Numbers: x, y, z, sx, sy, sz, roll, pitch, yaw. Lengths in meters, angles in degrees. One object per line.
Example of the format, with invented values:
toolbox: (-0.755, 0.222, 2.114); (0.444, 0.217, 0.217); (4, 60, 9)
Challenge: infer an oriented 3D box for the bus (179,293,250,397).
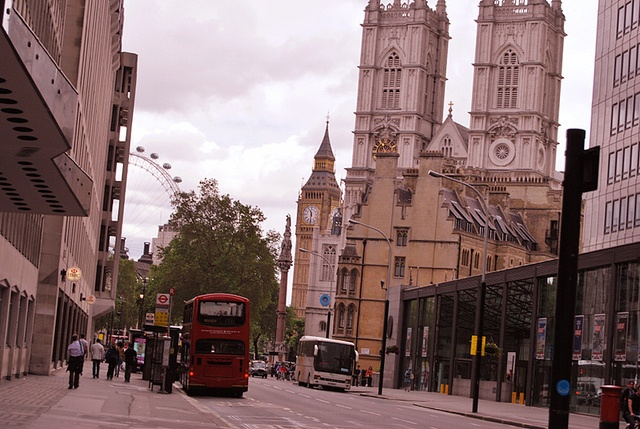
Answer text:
bus: (-6.046, 6.284, 41.593); (2.933, 4.349, 9.130); (3, -5, -18)

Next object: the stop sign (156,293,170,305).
stop sign: (-7.789, 4.174, 38.992); (0.626, 0.567, 0.573); (6, -16, -10)

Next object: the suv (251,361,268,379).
suv: (-7.066, 17.605, 89.947); (1.317, 1.265, 2.232); (2, -13, -11)

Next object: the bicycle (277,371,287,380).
bicycle: (-4.187, 17.363, 86.032); (0.904, 1.045, 1.654); (3, -6, -4)

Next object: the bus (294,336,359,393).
bus: (-0.110, 12.008, 63.474); (3.693, 4.465, 9.659); (8, -17, -18)
